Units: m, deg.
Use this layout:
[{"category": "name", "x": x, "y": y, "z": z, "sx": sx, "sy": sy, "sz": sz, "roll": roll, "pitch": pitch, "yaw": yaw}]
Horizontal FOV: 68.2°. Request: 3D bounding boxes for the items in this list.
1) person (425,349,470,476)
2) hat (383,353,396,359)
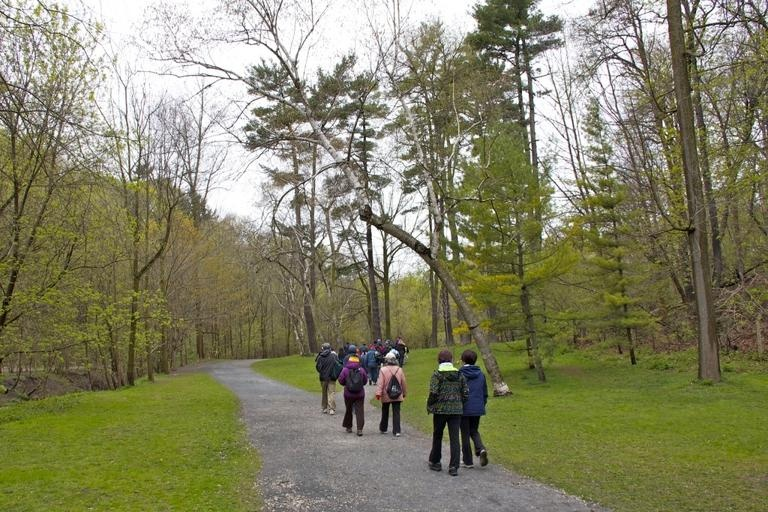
[{"category": "person", "x": 1.764, "y": 4.370, "z": 15.867, "sx": 1.091, "sy": 3.286, "sz": 1.091, "roll": -1, "pitch": 8, "yaw": 4}, {"category": "hat", "x": 0.205, "y": 3.148, "z": 17.896, "sx": 0.290, "sy": 0.258, "sz": 0.273, "roll": -1, "pitch": 8, "yaw": 2}]
